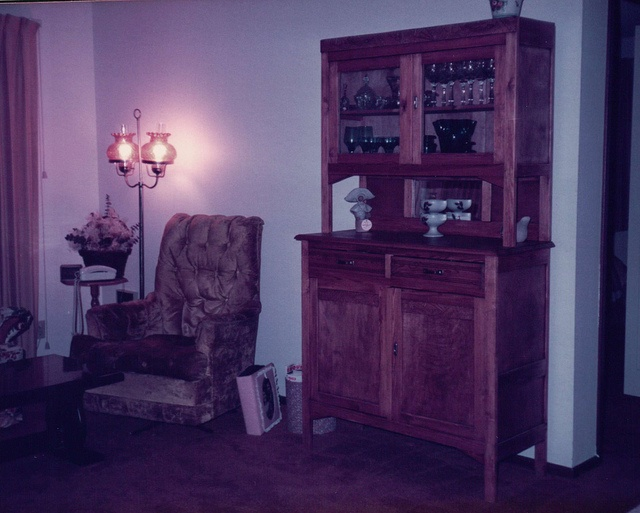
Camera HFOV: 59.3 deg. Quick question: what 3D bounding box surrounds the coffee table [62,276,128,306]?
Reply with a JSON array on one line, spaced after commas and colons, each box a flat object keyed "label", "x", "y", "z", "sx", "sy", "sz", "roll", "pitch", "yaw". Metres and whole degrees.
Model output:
[{"label": "coffee table", "x": -1.732, "y": 0.221, "z": 4.443, "sx": 0.315, "sy": 0.251, "sz": 0.322, "roll": -3, "pitch": 9, "yaw": -26}]

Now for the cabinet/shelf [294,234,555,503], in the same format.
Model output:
[{"label": "cabinet/shelf", "x": 0.529, "y": 0.535, "z": 3.294, "sx": 1.338, "sy": 1.378, "sz": 0.564, "roll": 5, "pitch": 8, "yaw": 40}]

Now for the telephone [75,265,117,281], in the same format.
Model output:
[{"label": "telephone", "x": -1.697, "y": 0.108, "z": 4.280, "sx": 0.175, "sy": 0.087, "sz": 0.124, "roll": -1, "pitch": 3, "yaw": -29}]

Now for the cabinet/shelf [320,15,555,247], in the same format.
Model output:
[{"label": "cabinet/shelf", "x": 0.599, "y": -0.673, "z": 3.327, "sx": 1.185, "sy": 1.230, "sz": 0.365, "roll": 7, "pitch": 14, "yaw": 37}]

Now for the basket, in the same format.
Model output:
[{"label": "basket", "x": -1.650, "y": -0.029, "z": 4.499, "sx": 0.425, "sy": 0.492, "sz": 0.474, "roll": -4, "pitch": -5, "yaw": 44}]

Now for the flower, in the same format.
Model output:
[{"label": "flower", "x": -1.736, "y": -0.201, "z": 4.604, "sx": 0.524, "sy": 0.548, "sz": 0.531, "roll": -11, "pitch": -10, "yaw": 44}]
